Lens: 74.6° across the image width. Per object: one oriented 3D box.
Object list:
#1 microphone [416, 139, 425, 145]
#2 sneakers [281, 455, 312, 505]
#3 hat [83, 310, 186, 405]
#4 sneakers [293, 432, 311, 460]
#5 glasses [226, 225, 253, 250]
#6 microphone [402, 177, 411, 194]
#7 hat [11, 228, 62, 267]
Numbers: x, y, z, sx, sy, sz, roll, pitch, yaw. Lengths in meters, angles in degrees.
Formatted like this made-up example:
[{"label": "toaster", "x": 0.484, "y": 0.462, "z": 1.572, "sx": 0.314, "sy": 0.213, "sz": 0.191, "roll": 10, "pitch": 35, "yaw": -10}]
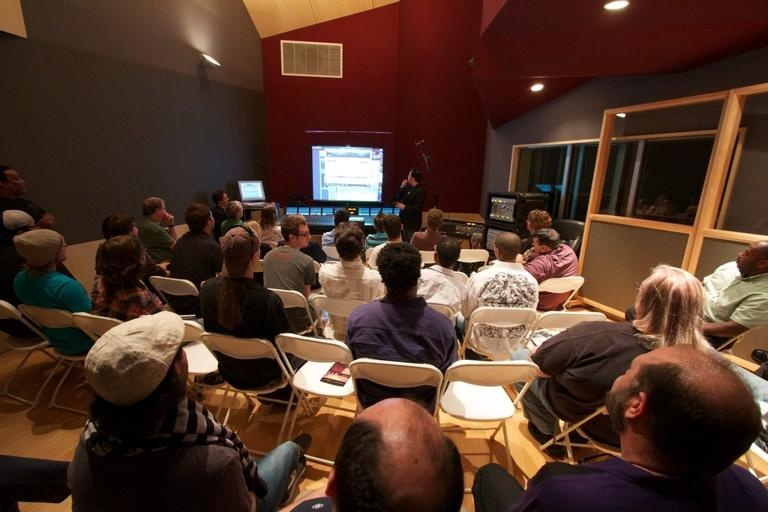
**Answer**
[{"label": "microphone", "x": 0.653, "y": -2.043, "z": 9.102, "sx": 0.167, "sy": 0.119, "sz": 0.558, "roll": 4, "pitch": 12, "yaw": 2}, {"label": "sneakers", "x": -0.716, "y": 1.800, "z": 4.112, "sx": 0.116, "sy": 0.141, "sz": 0.360, "roll": 13, "pitch": 41, "yaw": 4}, {"label": "hat", "x": -1.585, "y": 0.630, "z": 3.223, "sx": 0.536, "sy": 0.604, "sz": 0.189, "roll": 31, "pitch": -12, "yaw": 6}, {"label": "sneakers", "x": -0.703, "y": 1.597, "z": 4.306, "sx": 0.087, "sy": 0.251, "sz": 0.096, "roll": 6, "pitch": -15, "yaw": -4}, {"label": "glasses", "x": -1.203, "y": -0.197, "z": 4.228, "sx": 0.231, "sy": 0.088, "sz": 0.384, "roll": 0, "pitch": 12, "yaw": -17}, {"label": "microphone", "x": 0.354, "y": -1.203, "z": 8.688, "sx": 0.072, "sy": 0.169, "sz": 0.220, "roll": 12, "pitch": -8, "yaw": -7}, {"label": "hat", "x": -3.041, "y": -0.043, "z": 4.419, "sx": 0.385, "sy": 0.298, "sz": 0.285, "roll": -2, "pitch": 46, "yaw": -52}]
